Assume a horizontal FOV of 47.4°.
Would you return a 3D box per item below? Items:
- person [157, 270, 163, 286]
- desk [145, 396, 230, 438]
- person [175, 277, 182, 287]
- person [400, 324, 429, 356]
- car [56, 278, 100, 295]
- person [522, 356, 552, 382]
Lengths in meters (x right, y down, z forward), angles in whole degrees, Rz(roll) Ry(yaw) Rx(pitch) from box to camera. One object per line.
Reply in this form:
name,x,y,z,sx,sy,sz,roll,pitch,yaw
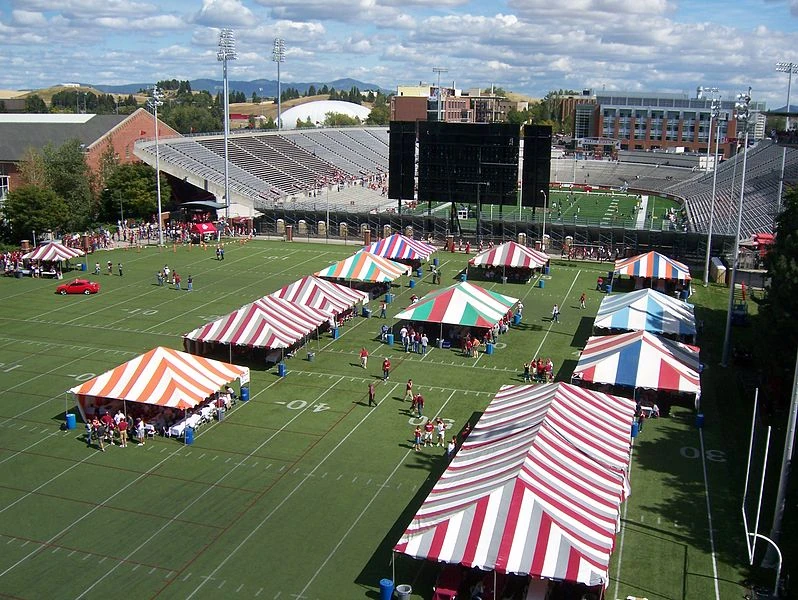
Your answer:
person,-18.958,-1.761,71.201,0.590,0.769,1.228,1,21,-5
desk,-10.658,5.902,46.375,1.814,0.795,2.905,5,17,20
person,-17.111,-1.493,69.739,0.426,0.886,1.129,-3,12,-15
person,1.009,2.524,57.183,1.384,0.640,1.841,3,15,2
car,-24.344,-0.975,68.121,2.429,0.816,1.396,3,8,-3
person,8.131,3.945,52.115,1.165,0.520,1.538,4,9,22
